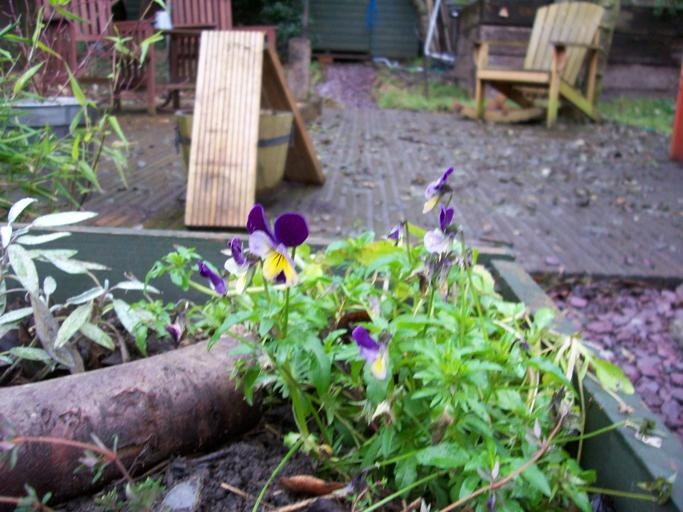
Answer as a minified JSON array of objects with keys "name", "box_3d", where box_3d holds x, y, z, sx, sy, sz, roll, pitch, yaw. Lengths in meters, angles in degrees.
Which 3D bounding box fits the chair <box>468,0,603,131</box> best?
[{"name":"chair","box_3d":[2.127,-2.051,5.204,1.030,1.343,1.511,2,24,-9]}]
